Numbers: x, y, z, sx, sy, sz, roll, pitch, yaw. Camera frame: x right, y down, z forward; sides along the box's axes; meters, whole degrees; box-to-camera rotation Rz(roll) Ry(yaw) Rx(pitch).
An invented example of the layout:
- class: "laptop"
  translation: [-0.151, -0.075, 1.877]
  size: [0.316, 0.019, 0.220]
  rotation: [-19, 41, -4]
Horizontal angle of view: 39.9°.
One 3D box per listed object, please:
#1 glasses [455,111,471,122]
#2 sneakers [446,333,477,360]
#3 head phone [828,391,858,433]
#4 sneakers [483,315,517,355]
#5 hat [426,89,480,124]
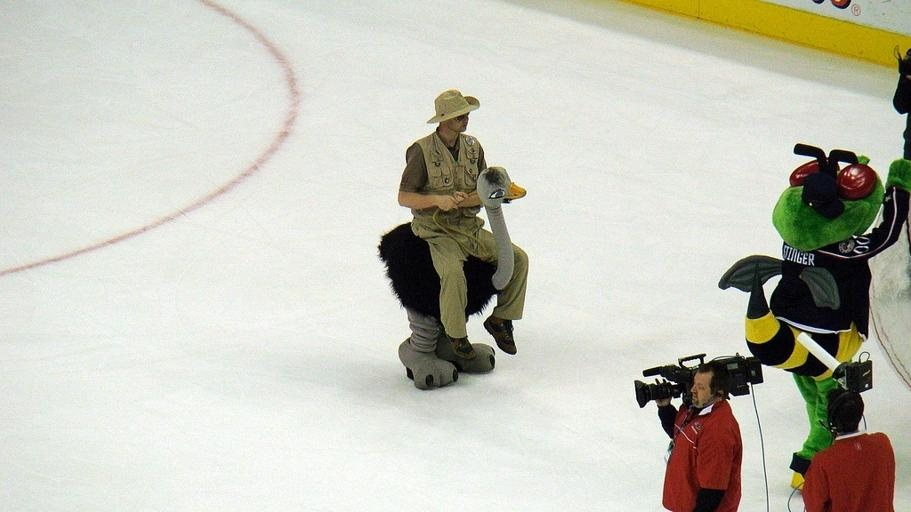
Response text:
- class: "glasses"
  translation: [0.051, -1.227, 10.937]
  size: [0.079, 0.078, 0.097]
  rotation: [6, 6, 20]
- class: "sneakers"
  translation: [0.038, 0.791, 11.072]
  size: [0.323, 0.124, 0.139]
  rotation: [17, -4, 27]
- class: "head phone"
  translation: [2.878, 1.152, 9.352]
  size: [0.260, 0.267, 0.317]
  rotation: [-2, -6, 2]
- class: "sneakers"
  translation: [0.445, 0.649, 11.232]
  size: [0.128, 0.243, 0.368]
  rotation: [-27, 39, -31]
- class: "hat"
  translation: [-0.009, -1.327, 11.048]
  size: [0.377, 0.305, 0.426]
  rotation: [4, 5, -2]
